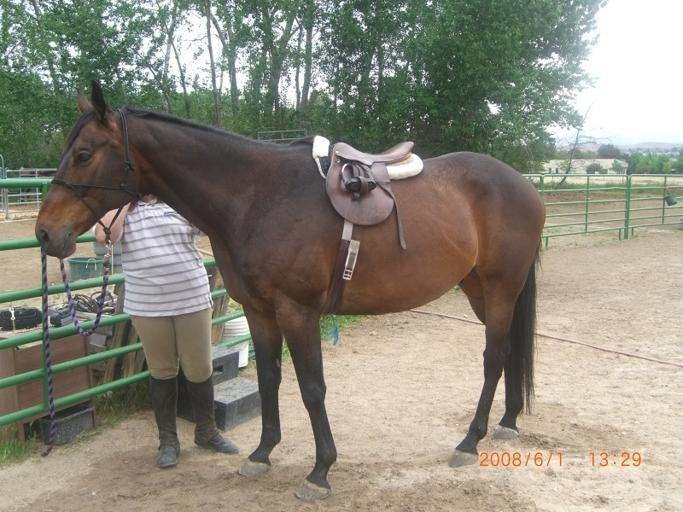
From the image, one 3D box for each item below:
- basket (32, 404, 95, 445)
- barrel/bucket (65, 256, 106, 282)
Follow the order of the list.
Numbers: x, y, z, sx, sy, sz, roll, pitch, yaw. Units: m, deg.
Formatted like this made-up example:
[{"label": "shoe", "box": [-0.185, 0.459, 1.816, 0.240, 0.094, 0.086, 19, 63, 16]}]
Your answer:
[{"label": "basket", "box": [-2.229, 1.326, 5.000, 0.274, 0.168, 0.359, 1, 2, 30]}, {"label": "barrel/bucket", "box": [-3.813, 0.201, 9.287, 0.582, 0.424, 0.594, 1, 0, 0]}]
